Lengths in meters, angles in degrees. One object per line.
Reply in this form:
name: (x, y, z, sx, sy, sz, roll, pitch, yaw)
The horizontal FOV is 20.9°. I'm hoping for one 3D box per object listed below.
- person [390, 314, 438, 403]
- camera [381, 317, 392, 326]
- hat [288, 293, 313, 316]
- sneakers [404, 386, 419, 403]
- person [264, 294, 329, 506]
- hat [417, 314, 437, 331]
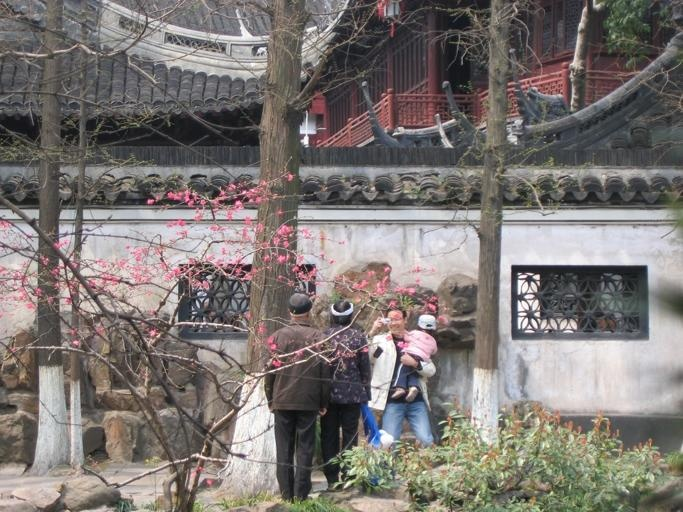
person: (1.068, 1.534, 27.865, 0.627, 1.723, 0.474, 16, -44, 1)
camera: (0.665, 0.975, 27.743, 0.163, 0.069, 0.215, 1, -1, 2)
hat: (-0.614, 0.678, 26.889, 0.283, 0.181, 0.317, -1, 33, -1)
sneakers: (1.045, 2.057, 27.585, 0.130, 0.230, 0.106, 32, 21, 2)
person: (-0.654, 1.998, 26.599, 0.900, 2.987, 0.998, -6, -11, 25)
hat: (1.298, 1.005, 28.159, 0.215, 0.191, 0.261, 8, -16, 3)
